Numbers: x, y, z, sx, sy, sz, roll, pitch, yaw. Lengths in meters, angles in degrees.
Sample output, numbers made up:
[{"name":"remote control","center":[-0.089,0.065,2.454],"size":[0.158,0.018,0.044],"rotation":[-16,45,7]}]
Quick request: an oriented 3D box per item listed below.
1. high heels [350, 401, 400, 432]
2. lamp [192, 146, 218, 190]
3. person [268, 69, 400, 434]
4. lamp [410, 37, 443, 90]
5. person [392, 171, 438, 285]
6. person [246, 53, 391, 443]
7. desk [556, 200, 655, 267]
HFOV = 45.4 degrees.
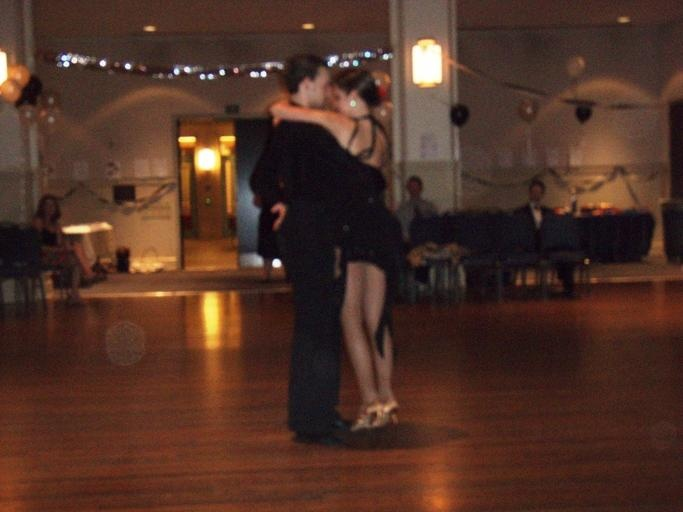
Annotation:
[{"name":"high heels","center":[0.159,0.834,4.172],"size":[0.110,0.120,0.271],"rotation":[18,-32,-37]},{"name":"lamp","center":[-2.380,-1.549,14.392],"size":[0.454,0.703,0.389],"rotation":[-3,10,-7]},{"name":"person","center":[-0.001,-0.036,4.170],"size":[0.578,1.898,0.515],"rotation":[1,-21,-3]},{"name":"lamp","center":[0.862,-1.942,8.280],"size":[0.393,0.570,0.403],"rotation":[-1,3,-20]},{"name":"person","center":[0.717,-0.219,7.892],"size":[0.411,1.048,0.338],"rotation":[-2,20,1]},{"name":"person","center":[-0.060,-0.039,4.192],"size":[0.712,2.042,0.505],"rotation":[-12,20,-18]},{"name":"desk","center":[3.491,-0.204,10.337],"size":[0.936,0.572,0.960],"rotation":[-1,6,0]}]
